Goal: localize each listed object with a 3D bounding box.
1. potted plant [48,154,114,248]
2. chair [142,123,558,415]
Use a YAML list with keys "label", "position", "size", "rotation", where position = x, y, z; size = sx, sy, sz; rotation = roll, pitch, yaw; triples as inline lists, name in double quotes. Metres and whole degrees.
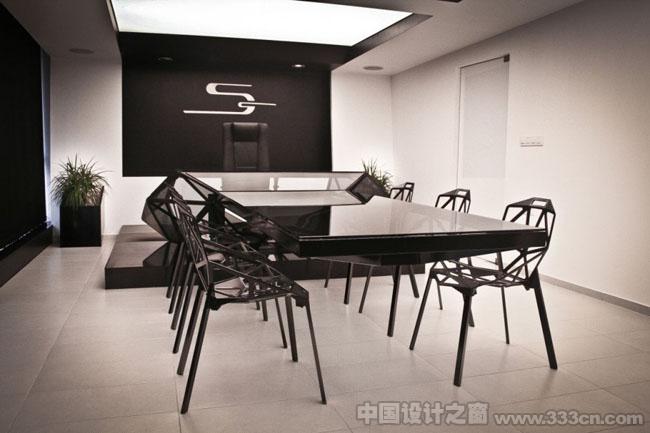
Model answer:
- label: "potted plant"
  position: [-3.857, -0.273, 6.704]
  size: [0.852, 1.282, 1.159]
  rotation: [-6, 15, -25]
- label: "chair"
  position: [0.069, 0.321, 3.641]
  size: [2.793, 1.460, 2.544]
  rotation: [-3, 14, -18]
